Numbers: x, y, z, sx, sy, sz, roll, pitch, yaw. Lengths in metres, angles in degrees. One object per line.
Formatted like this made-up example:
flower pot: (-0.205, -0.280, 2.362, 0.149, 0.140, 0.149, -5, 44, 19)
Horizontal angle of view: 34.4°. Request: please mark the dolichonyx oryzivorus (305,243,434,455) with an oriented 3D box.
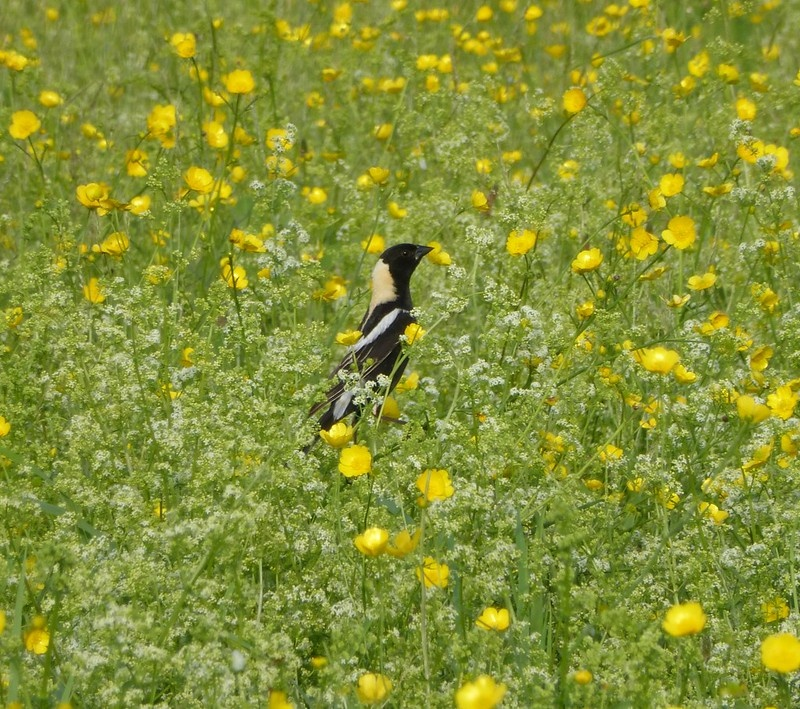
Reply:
dolichonyx oryzivorus: (-0.032, 0.011, 5.935, 0.530, 0.923, 0.738, 11, 35, 28)
